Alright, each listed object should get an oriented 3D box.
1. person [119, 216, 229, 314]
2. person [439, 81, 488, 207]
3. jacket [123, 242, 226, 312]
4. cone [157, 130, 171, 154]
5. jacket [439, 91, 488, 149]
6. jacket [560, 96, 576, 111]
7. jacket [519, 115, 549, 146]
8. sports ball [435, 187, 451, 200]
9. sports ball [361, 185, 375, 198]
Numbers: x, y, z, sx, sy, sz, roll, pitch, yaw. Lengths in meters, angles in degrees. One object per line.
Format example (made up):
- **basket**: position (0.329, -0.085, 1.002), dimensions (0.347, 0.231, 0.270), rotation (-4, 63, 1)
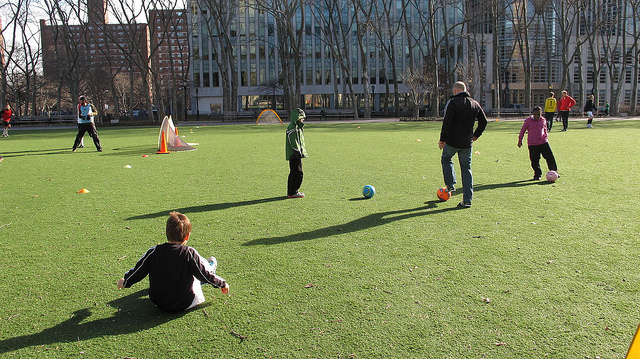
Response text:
- **person**: position (-2.099, 1.287, 6.929), dimensions (1.315, 0.922, 1.609), rotation (3, 6, -1)
- **person**: position (3.108, -0.812, 10.606), dimensions (0.903, 2.617, 1.107), rotation (3, 13, 29)
- **jacket**: position (-2.237, 1.452, 7.635), dimensions (1.672, 0.940, 1.681), rotation (2, 2, -7)
- **cone**: position (-5.909, -1.352, 18.253), dimensions (0.637, 0.811, 0.619), rotation (-2, 2, -4)
- **jacket**: position (3.138, -1.293, 10.517), dimensions (1.024, 1.231, 0.387), rotation (-7, 12, -17)
- **jacket**: position (12.809, -3.945, 24.892), dimensions (0.569, 0.685, 0.845), rotation (0, 11, 19)
- **jacket**: position (5.728, -1.296, 12.777), dimensions (0.965, 0.784, 0.428), rotation (-7, 13, -14)
- **sports ball**: position (2.745, 0.340, 10.724), dimensions (0.272, 0.260, 0.256), rotation (11, -19, 4)
- **sports ball**: position (1.130, 0.261, 11.220), dimensions (0.277, 0.262, 0.257), rotation (17, -10, 3)
